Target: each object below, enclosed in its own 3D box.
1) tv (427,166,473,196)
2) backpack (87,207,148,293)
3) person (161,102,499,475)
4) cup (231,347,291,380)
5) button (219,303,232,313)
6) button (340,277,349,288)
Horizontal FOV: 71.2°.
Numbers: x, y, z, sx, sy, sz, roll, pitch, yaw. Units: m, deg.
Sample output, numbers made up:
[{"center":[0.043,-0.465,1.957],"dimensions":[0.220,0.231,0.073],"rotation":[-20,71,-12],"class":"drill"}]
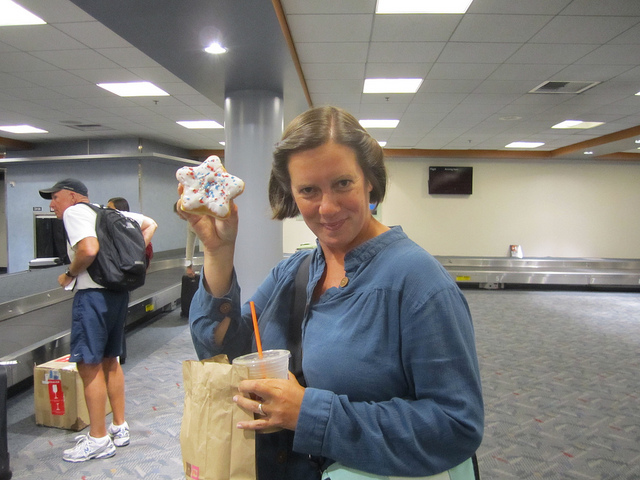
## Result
[{"center":[3.425,-1.648,11.841],"dimensions":[1.145,0.826,0.118],"rotation":[1,-9,11],"class":"tv"},{"center":[-1.721,0.054,3.814],"dimensions":[0.387,0.701,0.492],"rotation":[-4,-10,9],"class":"backpack"},{"center":[0.033,0.217,2.044],"dimensions":[1.346,1.670,0.657],"rotation":[1,10,5],"class":"person"},{"center":[-0.264,0.525,1.959],"dimensions":[0.168,0.127,0.167],"rotation":[-11,-7,-1],"class":"cup"},{"center":[-0.451,0.306,2.120],"dimensions":[0.053,0.048,0.005],"rotation":[-3,11,-17],"class":"button"},{"center":[0.109,0.177,2.017],"dimensions":[0.039,0.044,0.027],"rotation":[7,12,35],"class":"button"}]
